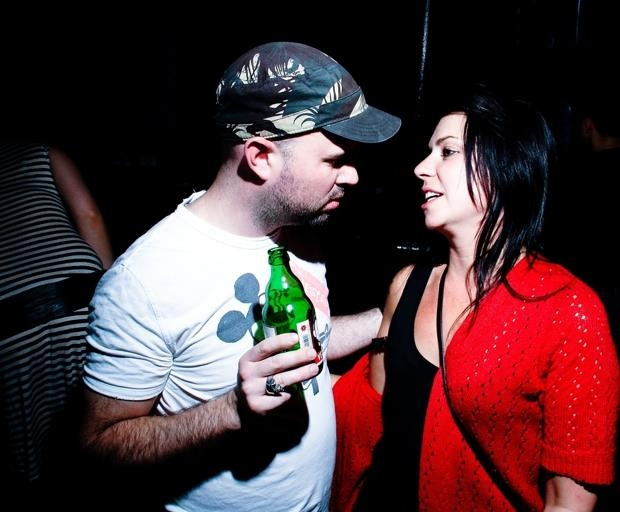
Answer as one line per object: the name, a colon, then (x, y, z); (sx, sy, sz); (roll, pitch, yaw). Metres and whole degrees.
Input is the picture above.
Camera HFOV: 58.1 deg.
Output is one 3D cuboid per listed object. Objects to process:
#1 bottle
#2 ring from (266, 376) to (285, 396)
bottle: (-0.071, 0.287, 2.223); (0.241, 0.669, 0.405); (-3, 13, 1)
ring: (-0.132, 0.478, 2.061); (0.072, 0.058, 0.026); (14, 24, 11)
